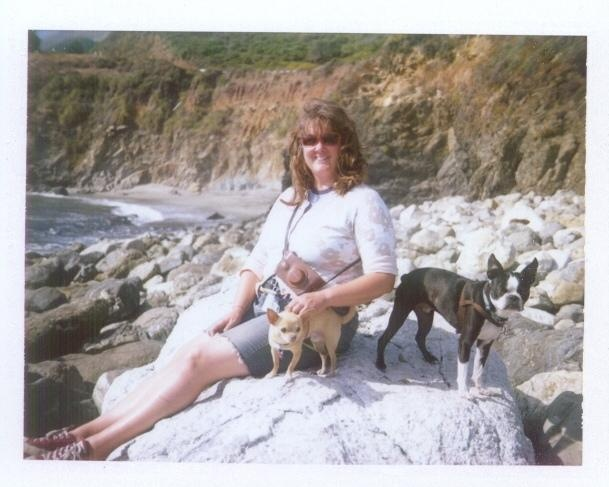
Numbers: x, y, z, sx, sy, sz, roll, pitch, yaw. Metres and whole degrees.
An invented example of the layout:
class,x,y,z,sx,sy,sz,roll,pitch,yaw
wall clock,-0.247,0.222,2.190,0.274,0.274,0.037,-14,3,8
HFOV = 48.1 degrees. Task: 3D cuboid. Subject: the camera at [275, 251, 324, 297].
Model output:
class,x,y,z,sx,sy,sz,roll,pitch,yaw
camera,-0.045,0.206,4.491,0.311,0.217,0.104,53,10,13
